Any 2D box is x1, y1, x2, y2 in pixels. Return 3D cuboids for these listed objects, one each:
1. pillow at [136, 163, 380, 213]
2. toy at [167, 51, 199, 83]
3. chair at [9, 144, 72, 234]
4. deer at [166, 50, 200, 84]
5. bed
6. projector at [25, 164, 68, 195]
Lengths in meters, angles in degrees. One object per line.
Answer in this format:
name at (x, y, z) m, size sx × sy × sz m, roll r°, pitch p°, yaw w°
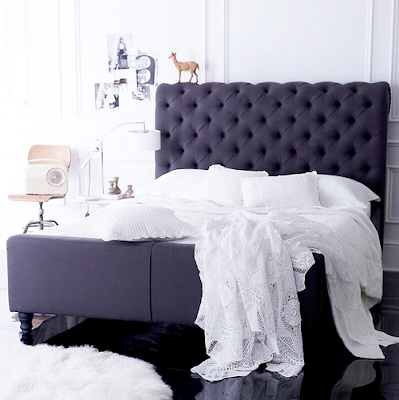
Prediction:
pillow at (0.379, -0.089, 3.717) m, size 1.784 × 0.348 × 0.542 m, roll 1°, pitch 4°, yaw 15°
toy at (-0.149, -1.172, 4.311) m, size 0.270 × 0.285 × 0.154 m, roll 1°, pitch 4°, yaw 3°
chair at (-1.417, -0.148, 4.511) m, size 0.456 × 0.857 × 0.502 m, roll 0°, pitch 5°, yaw -1°
deer at (-0.141, -1.163, 4.306) m, size 0.290 × 0.252 × 0.086 m, roll 11°, pitch 20°, yaw 23°
bed at (0.062, -0.083, 3.319) m, size 1.961 × 1.842 × 2.448 m, roll 4°, pitch 9°, yaw 17°
projector at (-1.355, -0.177, 4.295) m, size 0.352 × 0.252 × 0.275 m, roll 1°, pitch 10°, yaw -6°
